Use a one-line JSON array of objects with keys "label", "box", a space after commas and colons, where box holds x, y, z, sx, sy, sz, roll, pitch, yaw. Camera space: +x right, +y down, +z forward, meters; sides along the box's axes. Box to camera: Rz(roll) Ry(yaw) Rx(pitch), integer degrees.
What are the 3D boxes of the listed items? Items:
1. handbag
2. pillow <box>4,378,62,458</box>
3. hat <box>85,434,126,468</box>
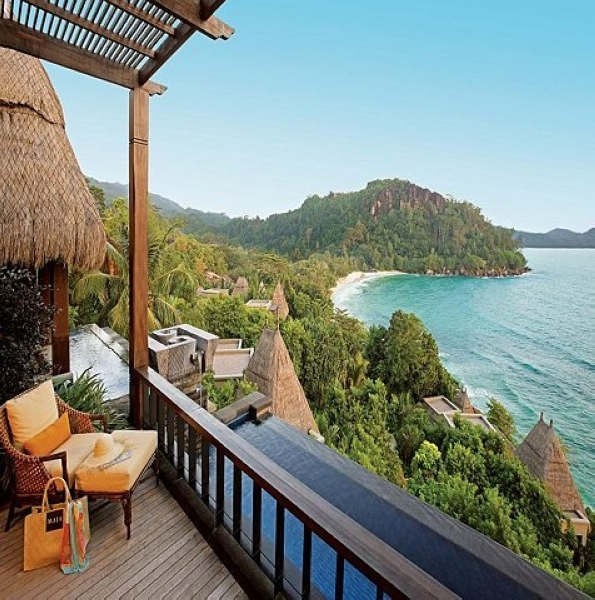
[{"label": "handbag", "box": [-1.509, 1.431, 2.434, 0.403, 0.703, 0.227, 2, -11, -36]}, {"label": "pillow", "box": [-1.866, 0.856, 2.736, 0.147, 0.556, 0.437, -9, 4, 5]}, {"label": "hat", "box": [-1.346, 1.046, 2.743, 0.134, 0.075, 0.214, 4, 6, 2]}]
